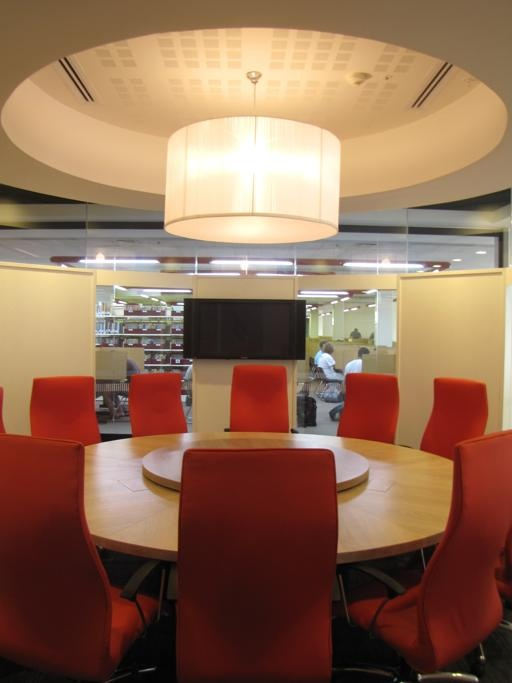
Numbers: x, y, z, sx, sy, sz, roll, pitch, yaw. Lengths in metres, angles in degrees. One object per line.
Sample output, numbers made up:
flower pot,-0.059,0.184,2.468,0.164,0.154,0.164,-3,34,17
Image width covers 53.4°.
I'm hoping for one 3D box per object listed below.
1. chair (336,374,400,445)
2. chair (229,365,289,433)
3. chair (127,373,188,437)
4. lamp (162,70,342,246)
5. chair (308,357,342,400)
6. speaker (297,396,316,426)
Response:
chair,0.927,0.495,4.124,0.472,0.834,0.501,1,1,31
chair,0.035,0.474,4.286,0.513,0.834,0.500,0,-5,-1
chair,-0.794,0.478,4.034,0.439,0.640,0.484,1,-3,-23
lamp,0.030,-0.860,3.031,0.860,0.900,0.857,-1,-7,19
chair,0.810,0.444,6.339,0.449,0.682,0.496,-1,-1,2
speaker,0.609,0.829,6.070,0.240,0.420,0.082,2,4,6
